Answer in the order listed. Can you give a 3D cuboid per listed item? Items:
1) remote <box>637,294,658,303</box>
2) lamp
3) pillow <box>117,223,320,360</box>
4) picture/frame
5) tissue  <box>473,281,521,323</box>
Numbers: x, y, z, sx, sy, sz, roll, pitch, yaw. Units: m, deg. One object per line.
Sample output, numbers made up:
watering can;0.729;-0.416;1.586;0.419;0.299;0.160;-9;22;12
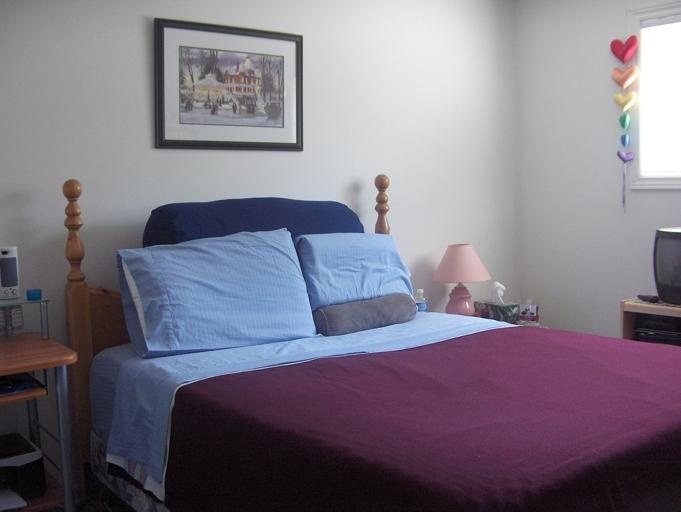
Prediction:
remote;1.854;0.248;3.230;0.083;0.036;0.054;4;2;39
lamp;0.851;0.124;3.717;0.406;0.646;0.431;2;5;43
pillow;-0.538;0.162;2.379;0.783;0.444;0.386;-7;13;-30
picture/frame;-0.656;-0.949;2.918;0.792;0.646;0.033;-1;3;-33
tissue ;1.079;0.327;3.592;0.127;0.256;0.256;-12;-14;32
